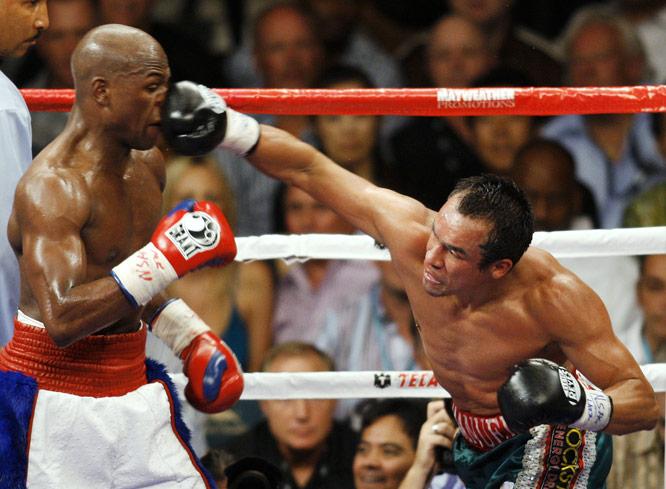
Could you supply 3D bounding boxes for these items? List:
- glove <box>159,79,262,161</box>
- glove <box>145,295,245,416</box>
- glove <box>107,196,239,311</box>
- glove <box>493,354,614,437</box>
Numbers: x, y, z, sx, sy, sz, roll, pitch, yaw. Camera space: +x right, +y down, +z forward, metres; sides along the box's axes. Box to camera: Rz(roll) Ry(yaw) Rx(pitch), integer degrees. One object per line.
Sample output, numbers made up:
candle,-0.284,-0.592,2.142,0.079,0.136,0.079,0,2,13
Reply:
glove,-0.420,-0.453,3.613,0.262,0.205,0.526,-20,6,31
glove,-0.476,0.389,3.556,0.253,0.402,0.176,-35,-23,-30
glove,-0.534,0.023,3.361,0.400,0.284,0.135,-39,-11,-15
glove,0.753,0.558,3.558,0.552,0.252,0.345,8,-16,-18
